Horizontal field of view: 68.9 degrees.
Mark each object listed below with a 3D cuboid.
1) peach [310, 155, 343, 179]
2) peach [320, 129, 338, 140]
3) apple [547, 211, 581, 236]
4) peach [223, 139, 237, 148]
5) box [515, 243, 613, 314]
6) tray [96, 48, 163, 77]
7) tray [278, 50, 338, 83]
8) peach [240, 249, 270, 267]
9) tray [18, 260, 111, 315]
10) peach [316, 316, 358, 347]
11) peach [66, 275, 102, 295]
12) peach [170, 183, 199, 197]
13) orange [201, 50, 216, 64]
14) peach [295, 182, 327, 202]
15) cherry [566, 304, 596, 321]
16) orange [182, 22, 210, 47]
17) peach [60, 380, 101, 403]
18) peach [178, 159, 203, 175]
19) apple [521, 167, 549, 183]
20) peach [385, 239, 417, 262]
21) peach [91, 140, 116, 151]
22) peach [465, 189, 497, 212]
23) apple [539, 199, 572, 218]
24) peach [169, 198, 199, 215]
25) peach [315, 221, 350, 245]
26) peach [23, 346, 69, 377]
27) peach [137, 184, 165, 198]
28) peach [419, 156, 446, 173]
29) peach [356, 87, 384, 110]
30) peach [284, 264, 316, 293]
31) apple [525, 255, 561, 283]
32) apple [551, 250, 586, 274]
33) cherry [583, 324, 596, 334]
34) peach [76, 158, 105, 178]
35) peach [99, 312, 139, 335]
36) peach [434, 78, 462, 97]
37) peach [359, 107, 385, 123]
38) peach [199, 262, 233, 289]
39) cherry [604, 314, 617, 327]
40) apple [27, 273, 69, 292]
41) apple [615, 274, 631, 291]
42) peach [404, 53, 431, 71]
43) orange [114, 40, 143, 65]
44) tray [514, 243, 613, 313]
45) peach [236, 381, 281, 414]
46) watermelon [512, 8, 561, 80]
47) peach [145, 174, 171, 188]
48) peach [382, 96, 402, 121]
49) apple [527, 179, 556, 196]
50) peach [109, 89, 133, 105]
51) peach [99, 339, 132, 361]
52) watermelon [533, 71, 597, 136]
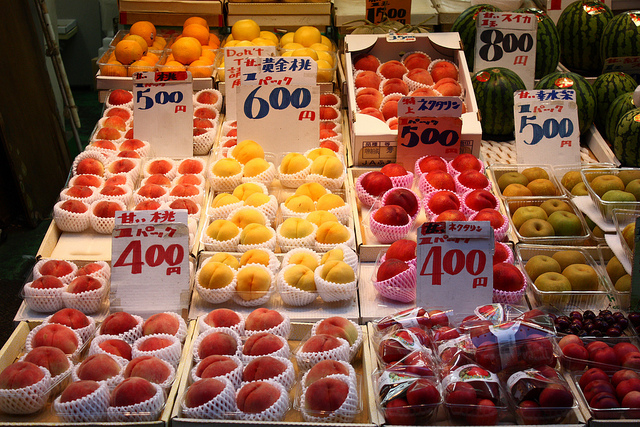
[{"bbox_3d":[0.048,-0.354,3.542,0.177,0.187,0.176,-2,8,-5],"label":"peach"},{"bbox_3d":[0.055,-0.691,4.069,0.182,0.050,0.112,-18,31,-29],"label":"peach"},{"bbox_3d":[1.681,0.074,3.223,0.158,0.166,0.174,-4,29,0],"label":"apple"},{"bbox_3d":[-0.743,-0.585,3.908,0.067,0.054,0.089,-4,13,19],"label":"peach"},{"bbox_3d":[1.559,0.417,3.012,0.436,0.189,0.631,-9,20,8],"label":"box"},{"bbox_3d":[-1.820,-1.454,4.514,0.455,0.148,0.467,14,33,21],"label":"tray"},{"bbox_3d":[-0.095,-1.503,4.710,0.630,0.263,0.628,-5,27,-6],"label":"tray"},{"bbox_3d":[-0.411,0.277,2.935,0.113,0.073,0.121,-8,21,18],"label":"peach"},{"bbox_3d":[-1.433,0.420,2.713,0.580,0.129,0.645,-5,-19,-6],"label":"tray"},{"bbox_3d":[0.101,0.637,2.595,0.154,0.170,0.162,-1,15,-3],"label":"peach"},{"bbox_3d":[-1.426,0.436,2.831,0.196,0.056,0.103,-1,27,3],"label":"peach"},{"bbox_3d":[-0.997,-0.160,3.438,0.207,0.067,0.110,-9,28,-14],"label":"peach"},{"bbox_3d":[-1.128,-1.593,4.734,0.104,0.127,0.133,-3,-2,-12],"label":"orange"},{"bbox_3d":[-0.062,-0.160,3.397,0.141,0.121,0.158,-1,4,9],"label":"peach"},{"bbox_3d":[1.521,0.578,2.699,0.077,0.033,0.082,18,28,-21],"label":"cherry"},{"bbox_3d":[-1.275,-1.898,4.923,0.232,0.298,0.240,-1,26,-3],"label":"orange"},{"bbox_3d":[-1.174,0.838,2.258,0.103,0.078,0.131,-14,0,-6],"label":"peach"},{"bbox_3d":[-1.017,-0.360,3.684,0.118,0.081,0.126,2,10,13],"label":"peach"},{"bbox_3d":[1.668,-0.305,3.635,0.116,0.127,0.125,-6,12,8],"label":"apple"},{"bbox_3d":[0.509,0.248,2.966,0.164,0.143,0.140,-39,68,-4],"label":"peach"},{"bbox_3d":[-1.784,-0.565,3.895,0.200,0.063,0.125,3,27,9],"label":"peach"},{"bbox_3d":[1.125,-0.089,3.275,0.148,0.134,0.161,3,31,-5],"label":"peach"},{"bbox_3d":[1.685,-0.048,3.362,0.129,0.132,0.138,-10,31,-7],"label":"apple"},{"bbox_3d":[-0.947,-0.054,3.294,0.113,0.077,0.120,-4,20,-16],"label":"peach"},{"bbox_3d":[0.073,0.135,3.080,0.152,0.128,0.155,-12,14,-3],"label":"peach"},{"bbox_3d":[-1.430,0.772,2.457,0.144,0.120,0.161,5,20,-5],"label":"peach"},{"bbox_3d":[-1.233,-0.179,3.390,0.112,0.073,0.116,4,11,10],"label":"peach"},{"bbox_3d":[0.870,-0.370,3.612,0.127,0.171,0.142,10,2,12],"label":"peach"},{"bbox_3d":[0.435,-1.009,4.147,0.232,0.140,0.221,1,27,7],"label":"peach"},{"bbox_3d":[-0.124,0.410,2.862,0.186,0.122,0.123,-4,26,-5],"label":"peach"},{"bbox_3d":[1.403,0.332,2.984,0.155,0.166,0.170,-5,33,4],"label":"apple"},{"bbox_3d":[1.606,0.276,3.029,0.136,0.143,0.140,-19,21,-15],"label":"apple"},{"bbox_3d":[1.510,0.648,2.631,0.044,0.025,0.045,-16,20,-20],"label":"cherry"},{"bbox_3d":[-1.772,-0.356,3.627,0.144,0.190,0.156,3,30,-5],"label":"peach"},{"bbox_3d":[-1.137,0.629,2.639,0.135,0.107,0.129,-30,17,-25],"label":"peach"},{"bbox_3d":[1.139,-1.122,4.191,0.199,0.168,0.164,-1,6,-22],"label":"peach"},{"bbox_3d":[0.440,-0.832,3.966,0.206,0.108,0.186,2,27,7],"label":"peach"},{"bbox_3d":[-0.634,0.347,2.820,0.151,0.122,0.150,19,28,19],"label":"peach"},{"bbox_3d":[1.645,0.611,2.665,0.047,0.052,0.027,-17,-23,10],"label":"cherry"},{"bbox_3d":[-1.662,0.424,2.844,0.139,0.083,0.113,2,18,-43],"label":"apple"},{"bbox_3d":[1.848,0.425,2.861,0.075,0.082,0.129,15,31,32],"label":"apple"},{"bbox_3d":[0.944,-1.484,4.568,0.172,0.117,0.189,-3,32,2],"label":"peach"},{"bbox_3d":[-1.854,-1.558,4.535,0.223,0.242,0.229,0,21,-3],"label":"orange"},{"bbox_3d":[1.552,0.408,3.015,0.432,0.186,0.603,-7,22,10],"label":"tray"},{"bbox_3d":[-0.304,0.908,2.293,0.210,0.092,0.120,-5,26,-5],"label":"peach"},{"bbox_3d":[2.185,-1.679,4.655,0.562,0.640,0.297,-18,29,-30],"label":"watermelon"},{"bbox_3d":[-1.217,-0.247,3.531,0.115,0.106,0.121,-1,10,-3],"label":"peach"},{"bbox_3d":[0.586,-0.922,4.078,0.176,0.236,0.194,6,14,-4],"label":"peach"},{"bbox_3d":[1.663,-0.194,3.515,0.130,0.138,0.136,-16,15,-1],"label":"apple"},{"bbox_3d":[-1.853,-1.078,4.348,0.154,0.101,0.176,-2,32,-27],"label":"peach"},{"bbox_3d":[-1.086,0.731,2.524,0.113,0.073,0.122,-5,19,-37],"label":"peach"},{"bbox_3d":[2.172,-1.024,4.323,0.492,0.638,0.530,-5,23,3],"label":"watermelon"}]
